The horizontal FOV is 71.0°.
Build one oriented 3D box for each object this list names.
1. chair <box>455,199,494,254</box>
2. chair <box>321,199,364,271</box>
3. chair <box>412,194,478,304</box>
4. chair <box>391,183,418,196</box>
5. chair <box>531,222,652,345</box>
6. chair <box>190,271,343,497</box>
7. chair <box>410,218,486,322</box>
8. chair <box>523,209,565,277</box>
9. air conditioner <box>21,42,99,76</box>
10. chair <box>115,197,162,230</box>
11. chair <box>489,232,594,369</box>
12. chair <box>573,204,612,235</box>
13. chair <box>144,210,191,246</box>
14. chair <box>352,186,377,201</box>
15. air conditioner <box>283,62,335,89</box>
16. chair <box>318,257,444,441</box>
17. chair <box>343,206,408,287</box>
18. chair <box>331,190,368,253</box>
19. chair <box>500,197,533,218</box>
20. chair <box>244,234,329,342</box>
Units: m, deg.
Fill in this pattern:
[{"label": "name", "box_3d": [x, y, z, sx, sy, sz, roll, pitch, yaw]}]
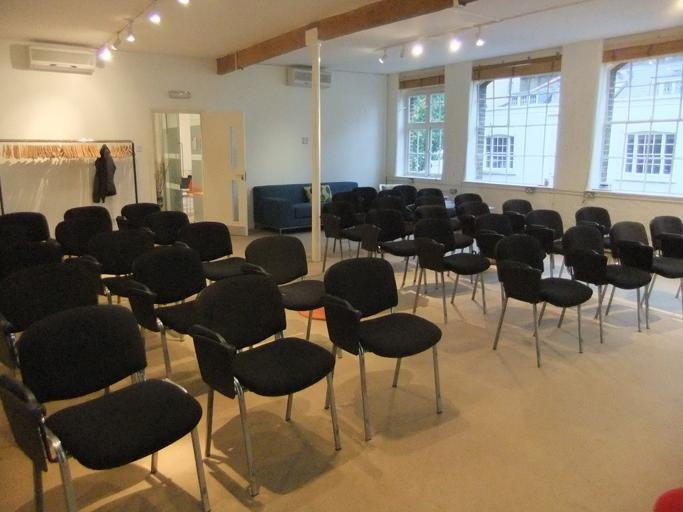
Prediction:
[{"label": "chair", "box_3d": [1.838, -0.419, 6.548, 0.587, 0.691, 0.604, -3, 10, -15]}, {"label": "chair", "box_3d": [0.091, -0.252, 6.689, 0.632, 0.968, 0.653, 13, 18, 44]}, {"label": "chair", "box_3d": [1.276, 0.106, 5.584, 0.518, 0.794, 0.599, 22, 0, -9]}, {"label": "chair", "box_3d": [1.192, -1.190, 8.778, 0.247, 0.277, 0.314, -3, 0, -26]}, {"label": "chair", "box_3d": [2.614, 0.249, 4.747, 0.807, 1.045, 0.771, -1, 11, 18]}, {"label": "chair", "box_3d": [-0.478, 0.779, 3.162, 0.727, 1.158, 0.863, 10, 14, 42]}, {"label": "chair", "box_3d": [1.225, 0.123, 5.214, 0.857, 1.009, 0.762, -4, 10, -19]}, {"label": "chair", "box_3d": [2.511, -0.154, 5.848, 0.474, 0.549, 0.472, 9, -9, -37]}, {"label": "air conditioner", "box_3d": [-4.380, -3.119, 7.559, 0.958, 0.374, 0.363, -7, 12, -33]}, {"label": "chair", "box_3d": [-2.624, -0.510, 6.068, 0.511, 0.598, 0.545, -1, 6, -11]}, {"label": "chair", "box_3d": [1.889, 0.370, 4.433, 0.835, 1.071, 0.769, -7, 12, -19]}, {"label": "chair", "box_3d": [3.347, -0.509, 6.356, 0.415, 0.517, 0.441, -7, 11, -21]}, {"label": "chair", "box_3d": [-2.045, -0.320, 5.750, 0.479, 0.584, 0.494, -3, 5, -32]}, {"label": "chair", "box_3d": [0.440, -1.124, 8.576, 0.316, 0.410, 0.346, -3, 6, -21]}, {"label": "air conditioner", "box_3d": [-0.650, -3.727, 9.925, 0.985, 0.456, 0.349, -10, 14, -44]}, {"label": "chair", "box_3d": [0.306, 0.634, 3.507, 0.813, 1.087, 0.756, -6, 13, -30]}, {"label": "chair", "box_3d": [0.278, -0.185, 6.105, 0.501, 0.722, 0.552, 1, 13, -18]}, {"label": "chair", "box_3d": [0.113, -0.416, 6.833, 0.668, 0.829, 0.550, -10, 37, -19]}, {"label": "chair", "box_3d": [2.496, -0.686, 6.805, 0.359, 0.447, 0.378, -4, 8, -24]}, {"label": "chair", "box_3d": [-0.394, 0.413, 4.169, 0.761, 1.106, 0.780, -6, 14, -20]}]
